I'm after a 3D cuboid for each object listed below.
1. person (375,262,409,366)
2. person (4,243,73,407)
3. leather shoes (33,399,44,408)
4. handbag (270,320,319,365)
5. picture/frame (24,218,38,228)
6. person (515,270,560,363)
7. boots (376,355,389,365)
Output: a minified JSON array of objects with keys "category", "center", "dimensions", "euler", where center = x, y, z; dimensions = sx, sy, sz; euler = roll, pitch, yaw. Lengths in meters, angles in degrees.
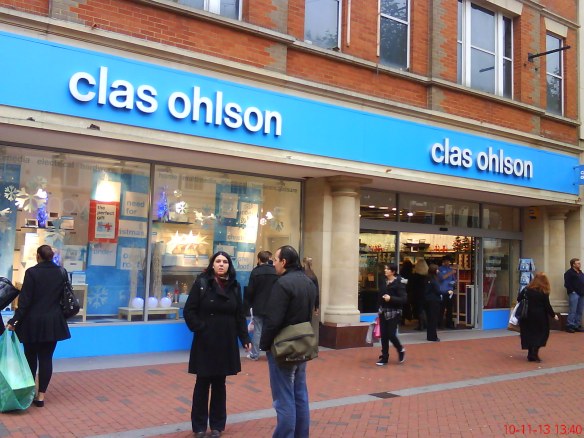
[{"category":"person","center":[1.964,1.869,9.580],"dimensions":[0.535,1.933,0.548],"euler":[1,-3,12]},{"category":"person","center":[-3.337,1.422,6.529],"dimensions":[0.816,2.118,0.451],"euler":[4,-3,-31]},{"category":"leather shoes","center":[-3.339,2.427,6.410],"dimensions":[0.130,0.106,0.125],"euler":[4,-3,-32]},{"category":"handbag","center":[0.019,1.342,5.191],"dimensions":[0.612,0.458,0.359],"euler":[-5,-12,-23]},{"category":"picture/frame","center":[-4.780,0.078,8.900],"dimensions":[0.162,0.143,0.056],"euler":[3,-7,-41]},{"category":"person","center":[5.064,2.053,10.186],"dimensions":[0.720,1.811,0.562],"euler":[2,-3,-2]},{"category":"boots","center":[1.759,2.738,9.470],"dimensions":[0.219,0.172,0.379],"euler":[1,-3,12]}]
